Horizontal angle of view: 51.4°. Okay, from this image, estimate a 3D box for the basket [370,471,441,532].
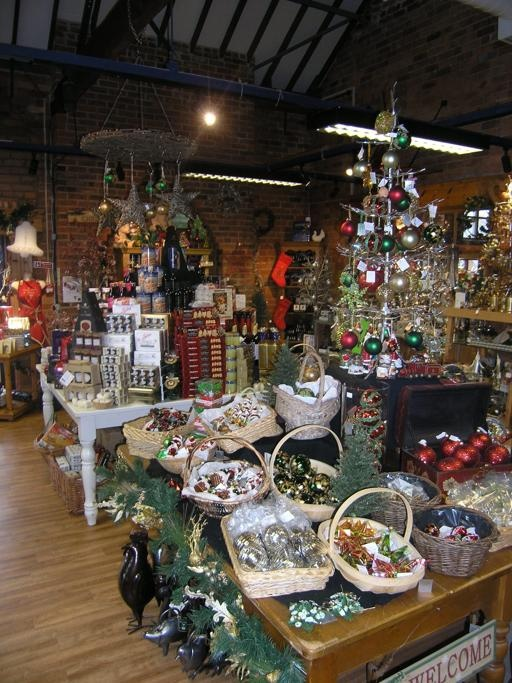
[{"bbox_3d":[0.506,0.514,1.760,0.179,0.073,0.191,-1,2,-6],"label":"basket"}]

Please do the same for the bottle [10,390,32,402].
[{"bbox_3d":[-2.784,0.654,6.267,0.179,0.068,0.229,2,8,-10],"label":"bottle"}]

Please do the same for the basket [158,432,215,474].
[{"bbox_3d":[-0.322,0.468,2.263,0.215,0.091,0.221,-2,3,-20],"label":"basket"}]

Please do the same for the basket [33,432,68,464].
[{"bbox_3d":[-1.641,0.849,4.182,0.243,0.100,0.203,9,11,38],"label":"basket"}]

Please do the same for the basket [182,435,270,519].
[{"bbox_3d":[-0.114,0.498,1.896,0.307,0.207,0.278,0,5,-2],"label":"basket"}]

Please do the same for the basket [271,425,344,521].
[{"bbox_3d":[0.159,0.425,1.836,0.290,0.324,0.289,2,7,-5],"label":"basket"}]

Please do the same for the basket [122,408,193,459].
[{"bbox_3d":[-0.509,0.474,2.775,0.245,0.137,0.329,3,5,22],"label":"basket"}]

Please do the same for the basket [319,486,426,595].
[{"bbox_3d":[0.313,0.573,1.487,0.244,0.228,0.294,-7,18,-16],"label":"basket"}]

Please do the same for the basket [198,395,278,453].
[{"bbox_3d":[-0.088,0.367,2.467,0.234,0.095,0.297,-8,10,-26],"label":"basket"}]

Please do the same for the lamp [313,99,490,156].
[{"bbox_3d":[1.338,-1.839,4.576,2.532,0.260,0.572,-8,25,-34],"label":"lamp"}]

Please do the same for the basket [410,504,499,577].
[{"bbox_3d":[0.563,0.577,1.545,0.192,0.096,0.183,2,8,39],"label":"basket"}]
